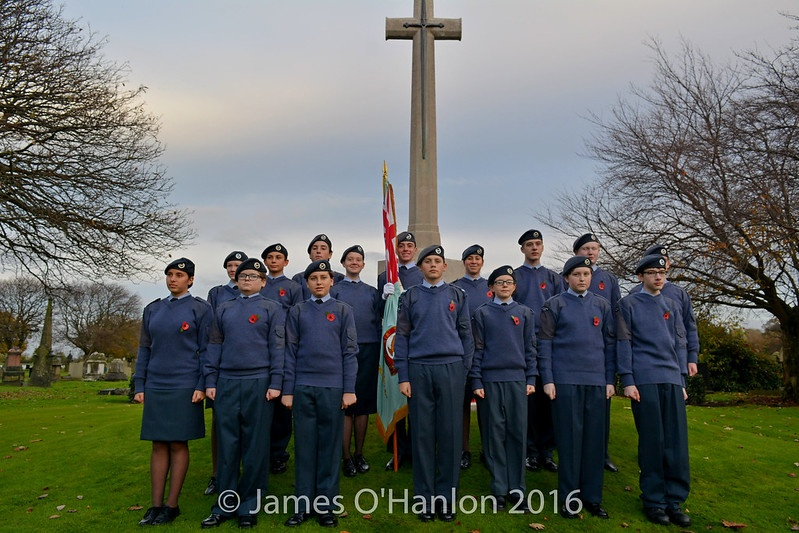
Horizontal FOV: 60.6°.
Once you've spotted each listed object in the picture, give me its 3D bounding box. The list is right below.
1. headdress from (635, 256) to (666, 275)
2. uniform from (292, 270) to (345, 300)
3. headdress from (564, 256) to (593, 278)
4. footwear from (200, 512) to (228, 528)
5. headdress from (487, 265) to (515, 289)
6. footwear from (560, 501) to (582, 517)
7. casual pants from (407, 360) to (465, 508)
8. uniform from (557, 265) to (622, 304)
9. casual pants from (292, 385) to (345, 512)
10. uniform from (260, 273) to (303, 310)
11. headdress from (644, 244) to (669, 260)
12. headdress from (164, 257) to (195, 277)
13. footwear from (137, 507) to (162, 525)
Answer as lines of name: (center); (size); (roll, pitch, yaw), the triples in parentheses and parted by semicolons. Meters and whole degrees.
headdress: (4.511, -0.021, 12.257); (0.343, 0.168, 0.397); (-2, -3, -3)
uniform: (-1.450, 0.362, 12.389); (0.751, 0.739, 0.409); (-4, -30, -2)
headdress: (3.126, 0.029, 11.999); (0.408, 0.189, 0.437); (-1, -7, -32)
footwear: (-3.170, 4.326, 11.616); (0.426, 0.166, 0.176); (15, -20, -40)
headdress: (1.737, 0.206, 11.618); (0.480, 0.221, 0.551); (3, -20, -11)
footwear: (2.965, 4.205, 11.842); (0.345, 0.263, 0.197); (-2, 14, -10)
casual pants: (0.637, 2.923, 11.895); (0.957, 2.406, 0.806); (0, 13, 1)
uniform: (3.469, 0.364, 12.632); (0.871, 1.159, 0.367); (-3, -12, -9)
casual pants: (-1.399, 3.130, 11.778); (0.849, 2.012, 0.700); (-2, 13, -9)
uniform: (-2.252, 0.499, 12.684); (0.934, 0.884, 0.370); (3, -9, -10)
headdress: (4.733, -0.288, 12.678); (0.466, 0.211, 0.541); (-3, -6, 3)
headdress: (-3.492, 0.046, 10.782); (0.462, 0.278, 0.399); (-3, -5, 5)
footwear: (-4.287, 4.280, 11.689); (0.345, 0.244, 0.226); (2, 14, 9)
